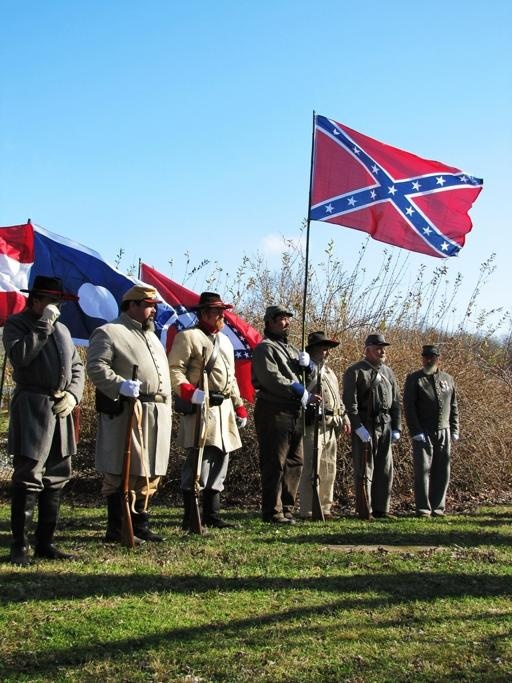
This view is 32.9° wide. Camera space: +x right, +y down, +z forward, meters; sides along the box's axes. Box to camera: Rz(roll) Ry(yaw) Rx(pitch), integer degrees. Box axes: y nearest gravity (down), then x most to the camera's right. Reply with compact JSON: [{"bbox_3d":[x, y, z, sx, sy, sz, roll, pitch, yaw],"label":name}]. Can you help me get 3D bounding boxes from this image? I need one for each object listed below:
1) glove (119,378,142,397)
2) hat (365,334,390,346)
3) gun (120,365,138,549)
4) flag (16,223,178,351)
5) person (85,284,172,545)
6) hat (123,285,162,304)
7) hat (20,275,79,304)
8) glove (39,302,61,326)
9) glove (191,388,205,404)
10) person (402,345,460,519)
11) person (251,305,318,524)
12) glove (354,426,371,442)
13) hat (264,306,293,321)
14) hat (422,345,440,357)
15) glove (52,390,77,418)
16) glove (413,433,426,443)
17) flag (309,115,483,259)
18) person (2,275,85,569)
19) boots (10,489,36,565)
[{"bbox_3d":[-0.996,0.382,6.978,0.163,0.137,0.153,2,-1,-20],"label":"glove"},{"bbox_3d":[1.378,-0.010,9.830,0.253,0.100,0.166,-1,-3,18],"label":"hat"},{"bbox_3d":[-0.989,0.918,6.949,0.132,1.436,0.387,3,0,-9],"label":"gun"},{"bbox_3d":[-1.711,-0.598,9.420,2.049,1.308,0.150,10,9,27],"label":"flag"},{"bbox_3d":[-1.066,0.593,7.203,0.625,2.149,0.802,3,-1,17],"label":"person"},{"bbox_3d":[-0.947,-0.392,7.314,0.261,0.090,0.167,0,3,8],"label":"hat"},{"bbox_3d":[-1.601,-0.423,6.640,0.345,0.109,0.284,4,-2,28],"label":"hat"},{"bbox_3d":[-1.532,-0.199,6.483,0.132,0.164,0.064,34,-22,-31],"label":"glove"},{"bbox_3d":[-0.495,0.505,7.768,0.123,0.146,0.220,3,-1,13],"label":"glove"},{"bbox_3d":[2.004,1.016,10.044,0.641,1.844,0.913,3,-1,12],"label":"person"},{"bbox_3d":[0.237,0.724,8.835,0.601,2.125,0.828,3,-1,0],"label":"person"},{"bbox_3d":[1.144,1.003,9.349,0.146,0.172,0.167,-27,4,-14],"label":"glove"},{"bbox_3d":[0.216,-0.295,9.073,0.210,0.088,0.197,-6,-8,24],"label":"hat"},{"bbox_3d":[2.093,0.113,10.356,0.173,0.089,0.162,1,0,14],"label":"hat"},{"bbox_3d":[-1.434,0.476,6.536,0.167,0.176,0.067,-2,-4,-35],"label":"glove"},{"bbox_3d":[1.871,1.113,9.899,0.133,0.084,0.102,-3,-5,17],"label":"glove"},{"bbox_3d":[1.691,-1.852,10.405,2.446,1.365,0.111,5,-3,-28],"label":"flag"},{"bbox_3d":[-1.579,0.565,6.514,0.504,2.169,0.709,3,-1,30],"label":"person"},{"bbox_3d":[-1.691,1.330,6.306,0.163,0.559,0.352,3,-1,-15],"label":"boots"}]
